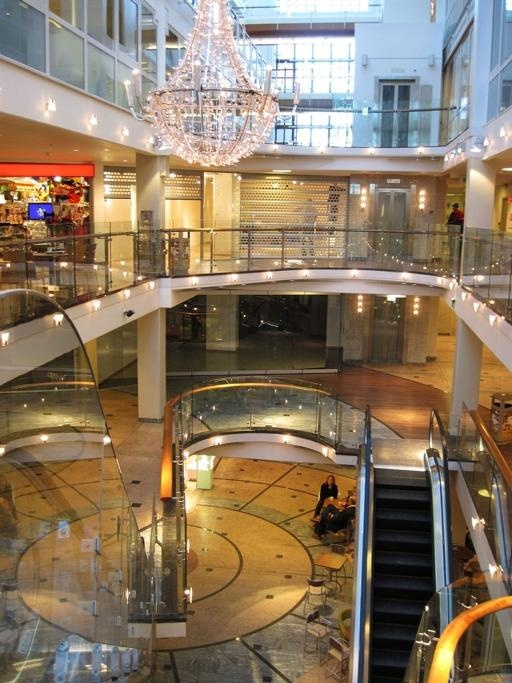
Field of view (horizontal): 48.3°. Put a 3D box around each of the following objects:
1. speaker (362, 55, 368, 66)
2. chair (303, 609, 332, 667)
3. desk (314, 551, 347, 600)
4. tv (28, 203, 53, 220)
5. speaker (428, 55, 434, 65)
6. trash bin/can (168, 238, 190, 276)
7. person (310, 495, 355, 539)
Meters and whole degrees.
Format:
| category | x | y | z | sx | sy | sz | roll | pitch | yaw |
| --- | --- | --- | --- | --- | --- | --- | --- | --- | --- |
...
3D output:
| category | x | y | z | sx | sy | sz | roll | pitch | yaw |
| --- | --- | --- | --- | --- | --- | --- | --- | --- | --- |
| speaker | 3.265 | -8.410 | 17.087 | 0.225 | 0.323 | 0.103 | 3 | 12 | 5 |
| chair | 0.891 | 4.373 | 8.448 | 0.380 | 0.738 | 0.410 | -6 | 7 | -44 |
| desk | 1.371 | 3.959 | 9.927 | 0.604 | 0.791 | 0.652 | 5 | -26 | 11 |
| tv | -5.244 | -3.180 | 13.883 | 0.566 | 0.375 | 0.597 | -2 | 12 | -19 |
| speaker | 5.235 | -8.364 | 16.992 | 0.187 | 0.291 | 0.079 | 1 | 12 | -6 |
| trash bin/can | -1.673 | -1.882 | 12.578 | 0.521 | 0.865 | 0.268 | -3 | 13 | -23 |
| person | 1.551 | 3.507 | 11.289 | 0.762 | 0.910 | 1.305 | 4 | 12 | 7 |
